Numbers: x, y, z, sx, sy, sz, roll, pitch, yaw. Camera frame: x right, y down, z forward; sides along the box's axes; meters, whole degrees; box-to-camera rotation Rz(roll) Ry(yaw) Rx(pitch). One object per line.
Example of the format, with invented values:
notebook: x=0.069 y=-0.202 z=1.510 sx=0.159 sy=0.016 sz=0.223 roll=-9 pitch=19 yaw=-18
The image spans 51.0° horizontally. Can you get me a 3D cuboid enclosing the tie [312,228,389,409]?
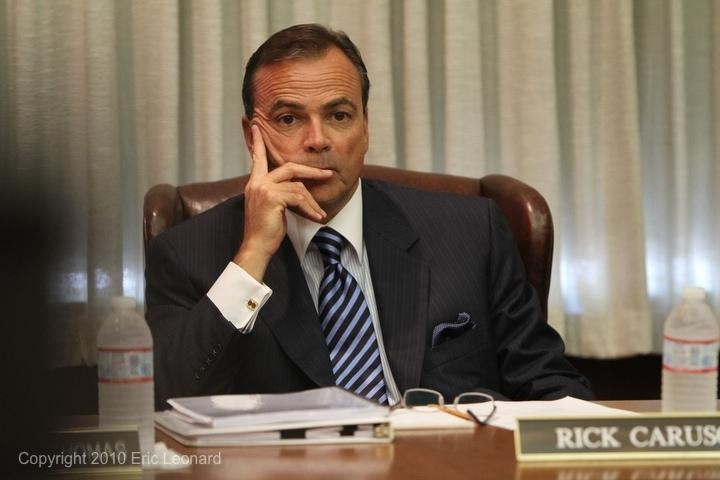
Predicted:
tie: x=-0.028 y=0.171 z=1.825 sx=0.143 sy=0.399 sz=0.251 roll=-1 pitch=4 yaw=-14

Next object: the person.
person: x=-0.010 y=-0.084 z=1.847 sx=1.002 sy=0.931 sz=0.675 roll=-1 pitch=4 yaw=-16

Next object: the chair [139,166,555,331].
chair: x=0.104 y=0.181 z=2.273 sx=0.740 sy=0.594 sz=0.605 roll=0 pitch=-19 yaw=-5
